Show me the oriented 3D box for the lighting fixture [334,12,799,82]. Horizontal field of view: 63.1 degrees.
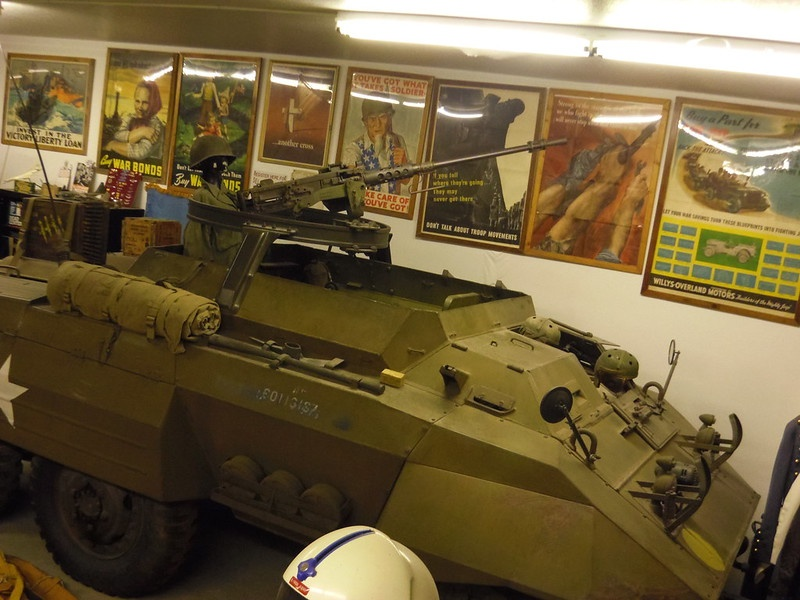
[{"bbox_3d":[1.049,-1.654,4.154,2.805,0.239,0.298,12,10,11],"label":"lighting fixture"}]
